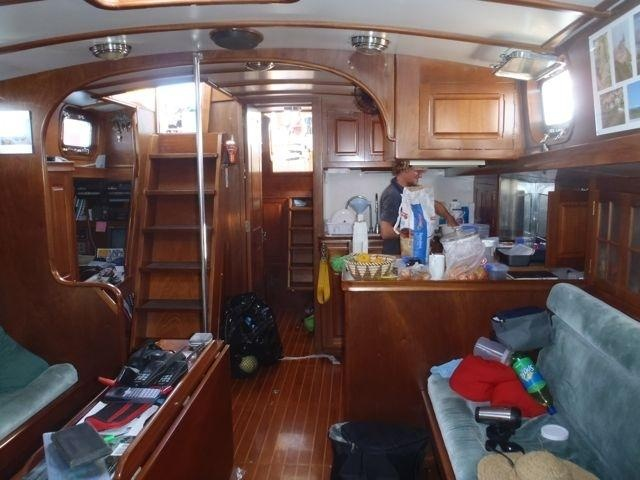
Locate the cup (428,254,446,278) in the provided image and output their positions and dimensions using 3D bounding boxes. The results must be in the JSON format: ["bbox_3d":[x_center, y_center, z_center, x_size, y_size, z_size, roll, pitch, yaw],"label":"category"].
[{"bbox_3d":[0.783,0.176,3.220,0.098,0.156,0.091,-3,12,1],"label":"cup"}]

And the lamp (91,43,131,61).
[{"bbox_3d":[-1.271,-1.131,2.918,0.254,0.074,0.184,-5,12,-9],"label":"lamp"}]

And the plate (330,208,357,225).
[{"bbox_3d":[0.235,-0.237,4.967,0.177,0.056,0.182,6,30,18],"label":"plate"}]

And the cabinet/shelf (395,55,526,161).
[{"bbox_3d":[1.033,-0.859,3.487,0.849,0.734,0.425,2,-8,12],"label":"cabinet/shelf"}]

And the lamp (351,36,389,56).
[{"bbox_3d":[0.297,-1.140,2.835,0.132,0.055,0.137,1,-2,-8],"label":"lamp"}]

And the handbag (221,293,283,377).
[{"bbox_3d":[-0.655,0.858,4.469,0.503,0.683,0.234,-6,-7,-11],"label":"handbag"}]

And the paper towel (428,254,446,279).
[{"bbox_3d":[0.777,0.176,3.201,0.097,0.152,0.157,7,11,32],"label":"paper towel"}]

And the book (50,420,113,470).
[{"bbox_3d":[-0.954,0.818,1.926,0.210,0.097,0.152,8,16,41],"label":"book"}]

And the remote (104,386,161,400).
[{"bbox_3d":[-0.887,0.724,2.291,0.185,0.026,0.097,1,8,-1],"label":"remote"}]

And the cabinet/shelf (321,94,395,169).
[{"bbox_3d":[0.325,-1.038,4.543,0.809,0.727,0.289,-1,5,-5],"label":"cabinet/shelf"}]
